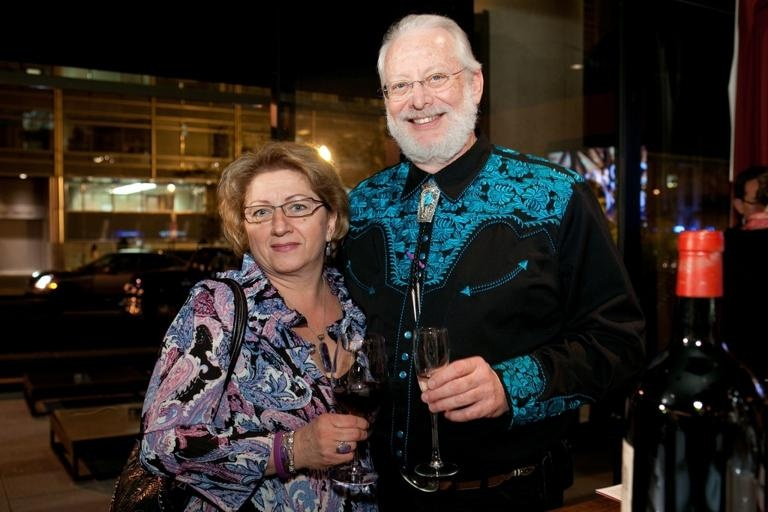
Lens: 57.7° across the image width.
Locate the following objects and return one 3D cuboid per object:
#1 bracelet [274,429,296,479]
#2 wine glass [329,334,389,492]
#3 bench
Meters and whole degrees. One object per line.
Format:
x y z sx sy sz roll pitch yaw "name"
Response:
-0.426 0.888 3.119 0.090 0.199 0.130 -3 1 16 "bracelet"
-0.125 0.731 3.154 0.260 0.634 0.269 -3 1 -13 "wine glass"
-2.719 1.037 6.255 1.135 0.203 1.209 15 9 40 "bench"
